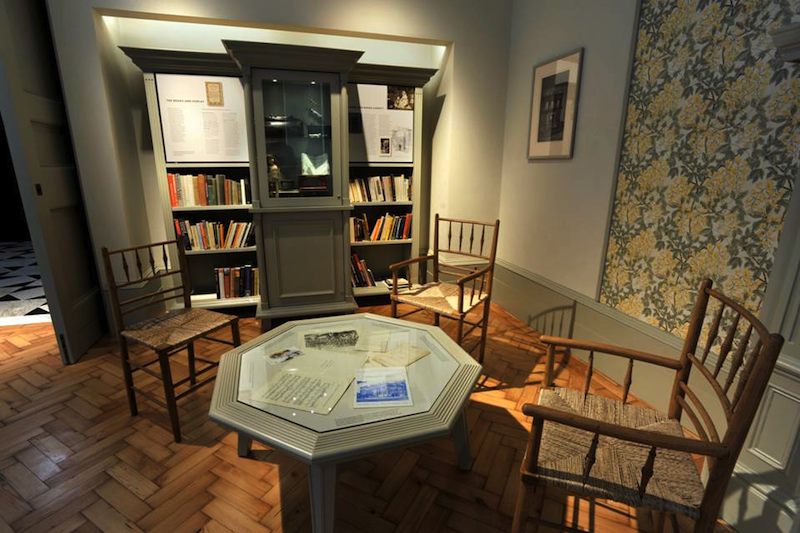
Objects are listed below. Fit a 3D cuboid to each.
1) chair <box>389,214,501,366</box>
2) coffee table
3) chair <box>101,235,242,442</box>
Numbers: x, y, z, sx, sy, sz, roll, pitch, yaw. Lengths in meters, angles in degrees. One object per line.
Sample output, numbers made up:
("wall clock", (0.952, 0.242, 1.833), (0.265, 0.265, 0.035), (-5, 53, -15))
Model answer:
("chair", (0.364, 0.235, 3.895), (0.692, 1.138, 0.628), (15, 24, 39))
("coffee table", (-0.325, 0.876, 2.904), (1.445, 0.834, 1.040), (-3, 15, -16))
("chair", (-1.527, 0.458, 3.378), (0.658, 1.210, 0.718), (6, 19, 17))
